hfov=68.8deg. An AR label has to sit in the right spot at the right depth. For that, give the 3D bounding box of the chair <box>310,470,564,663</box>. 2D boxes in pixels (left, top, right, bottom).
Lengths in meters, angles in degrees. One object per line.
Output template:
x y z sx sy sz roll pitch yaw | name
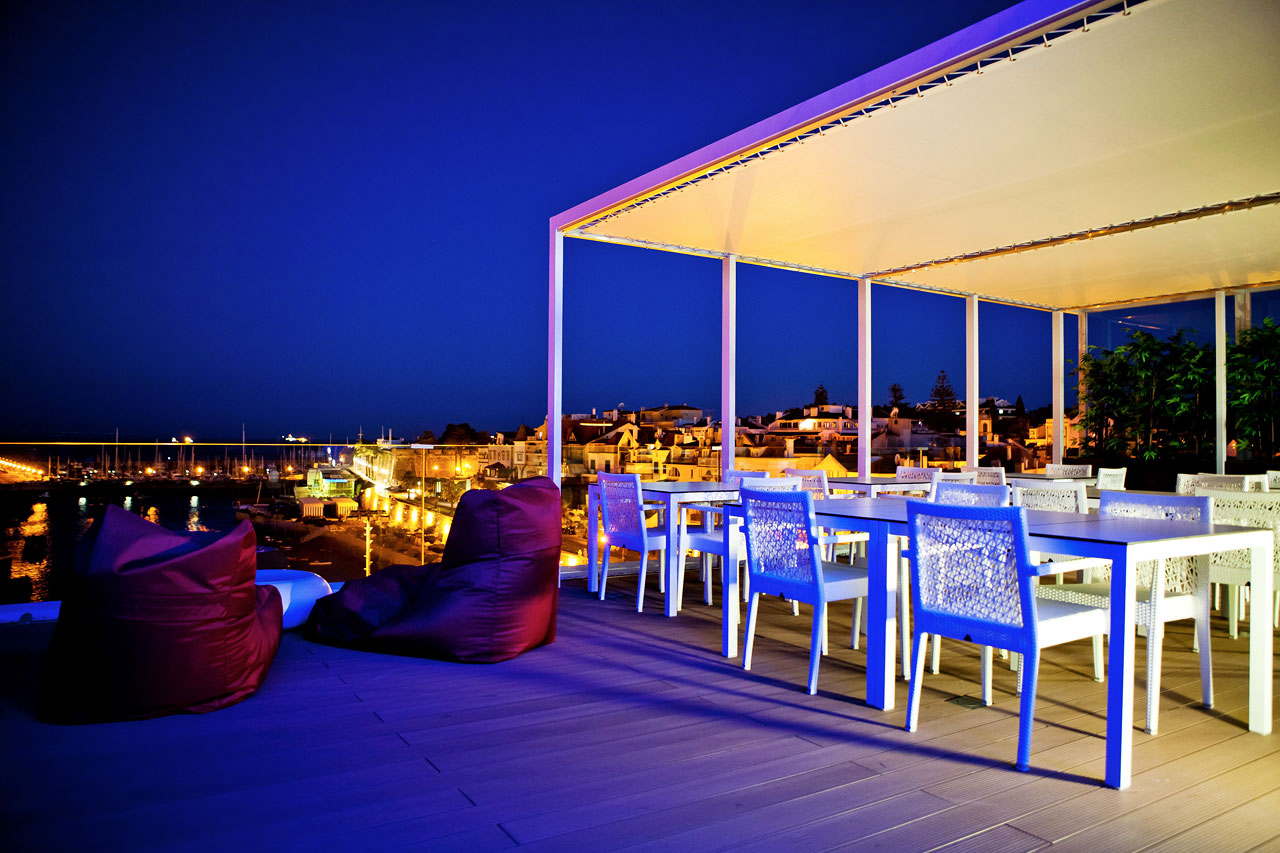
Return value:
-1.363 0.943 6.251 1.406 0.908 1.094 0 -9 15 | chair
